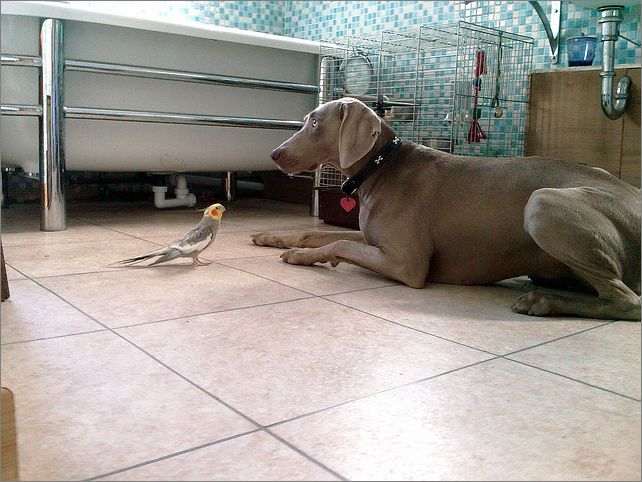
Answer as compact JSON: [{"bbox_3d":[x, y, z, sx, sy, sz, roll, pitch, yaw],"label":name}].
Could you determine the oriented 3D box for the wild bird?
[{"bbox_3d":[-0.556,-0.008,1.787,0.520,0.203,0.118,-6,2,21],"label":"wild bird"}]
